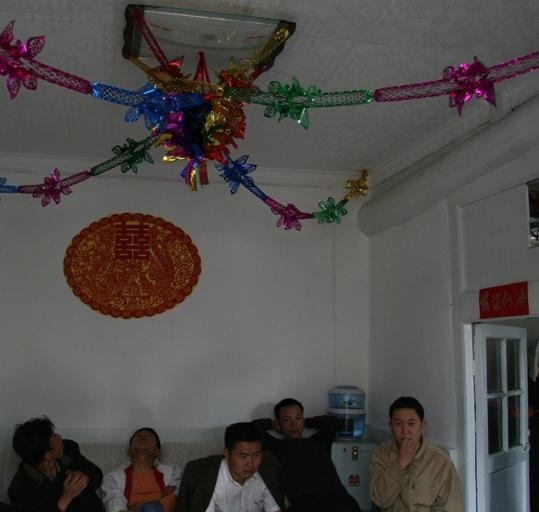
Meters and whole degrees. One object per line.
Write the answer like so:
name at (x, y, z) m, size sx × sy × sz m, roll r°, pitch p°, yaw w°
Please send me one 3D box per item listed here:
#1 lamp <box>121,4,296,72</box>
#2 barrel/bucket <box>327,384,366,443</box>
lamp at (-0.322, -1.040, 2.855) m, size 0.847 × 0.244 × 0.483 m, roll 1°, pitch -9°, yaw -14°
barrel/bucket at (0.662, 1.288, 4.617) m, size 0.416 × 0.405 × 0.391 m, roll 1°, pitch -10°, yaw 0°
